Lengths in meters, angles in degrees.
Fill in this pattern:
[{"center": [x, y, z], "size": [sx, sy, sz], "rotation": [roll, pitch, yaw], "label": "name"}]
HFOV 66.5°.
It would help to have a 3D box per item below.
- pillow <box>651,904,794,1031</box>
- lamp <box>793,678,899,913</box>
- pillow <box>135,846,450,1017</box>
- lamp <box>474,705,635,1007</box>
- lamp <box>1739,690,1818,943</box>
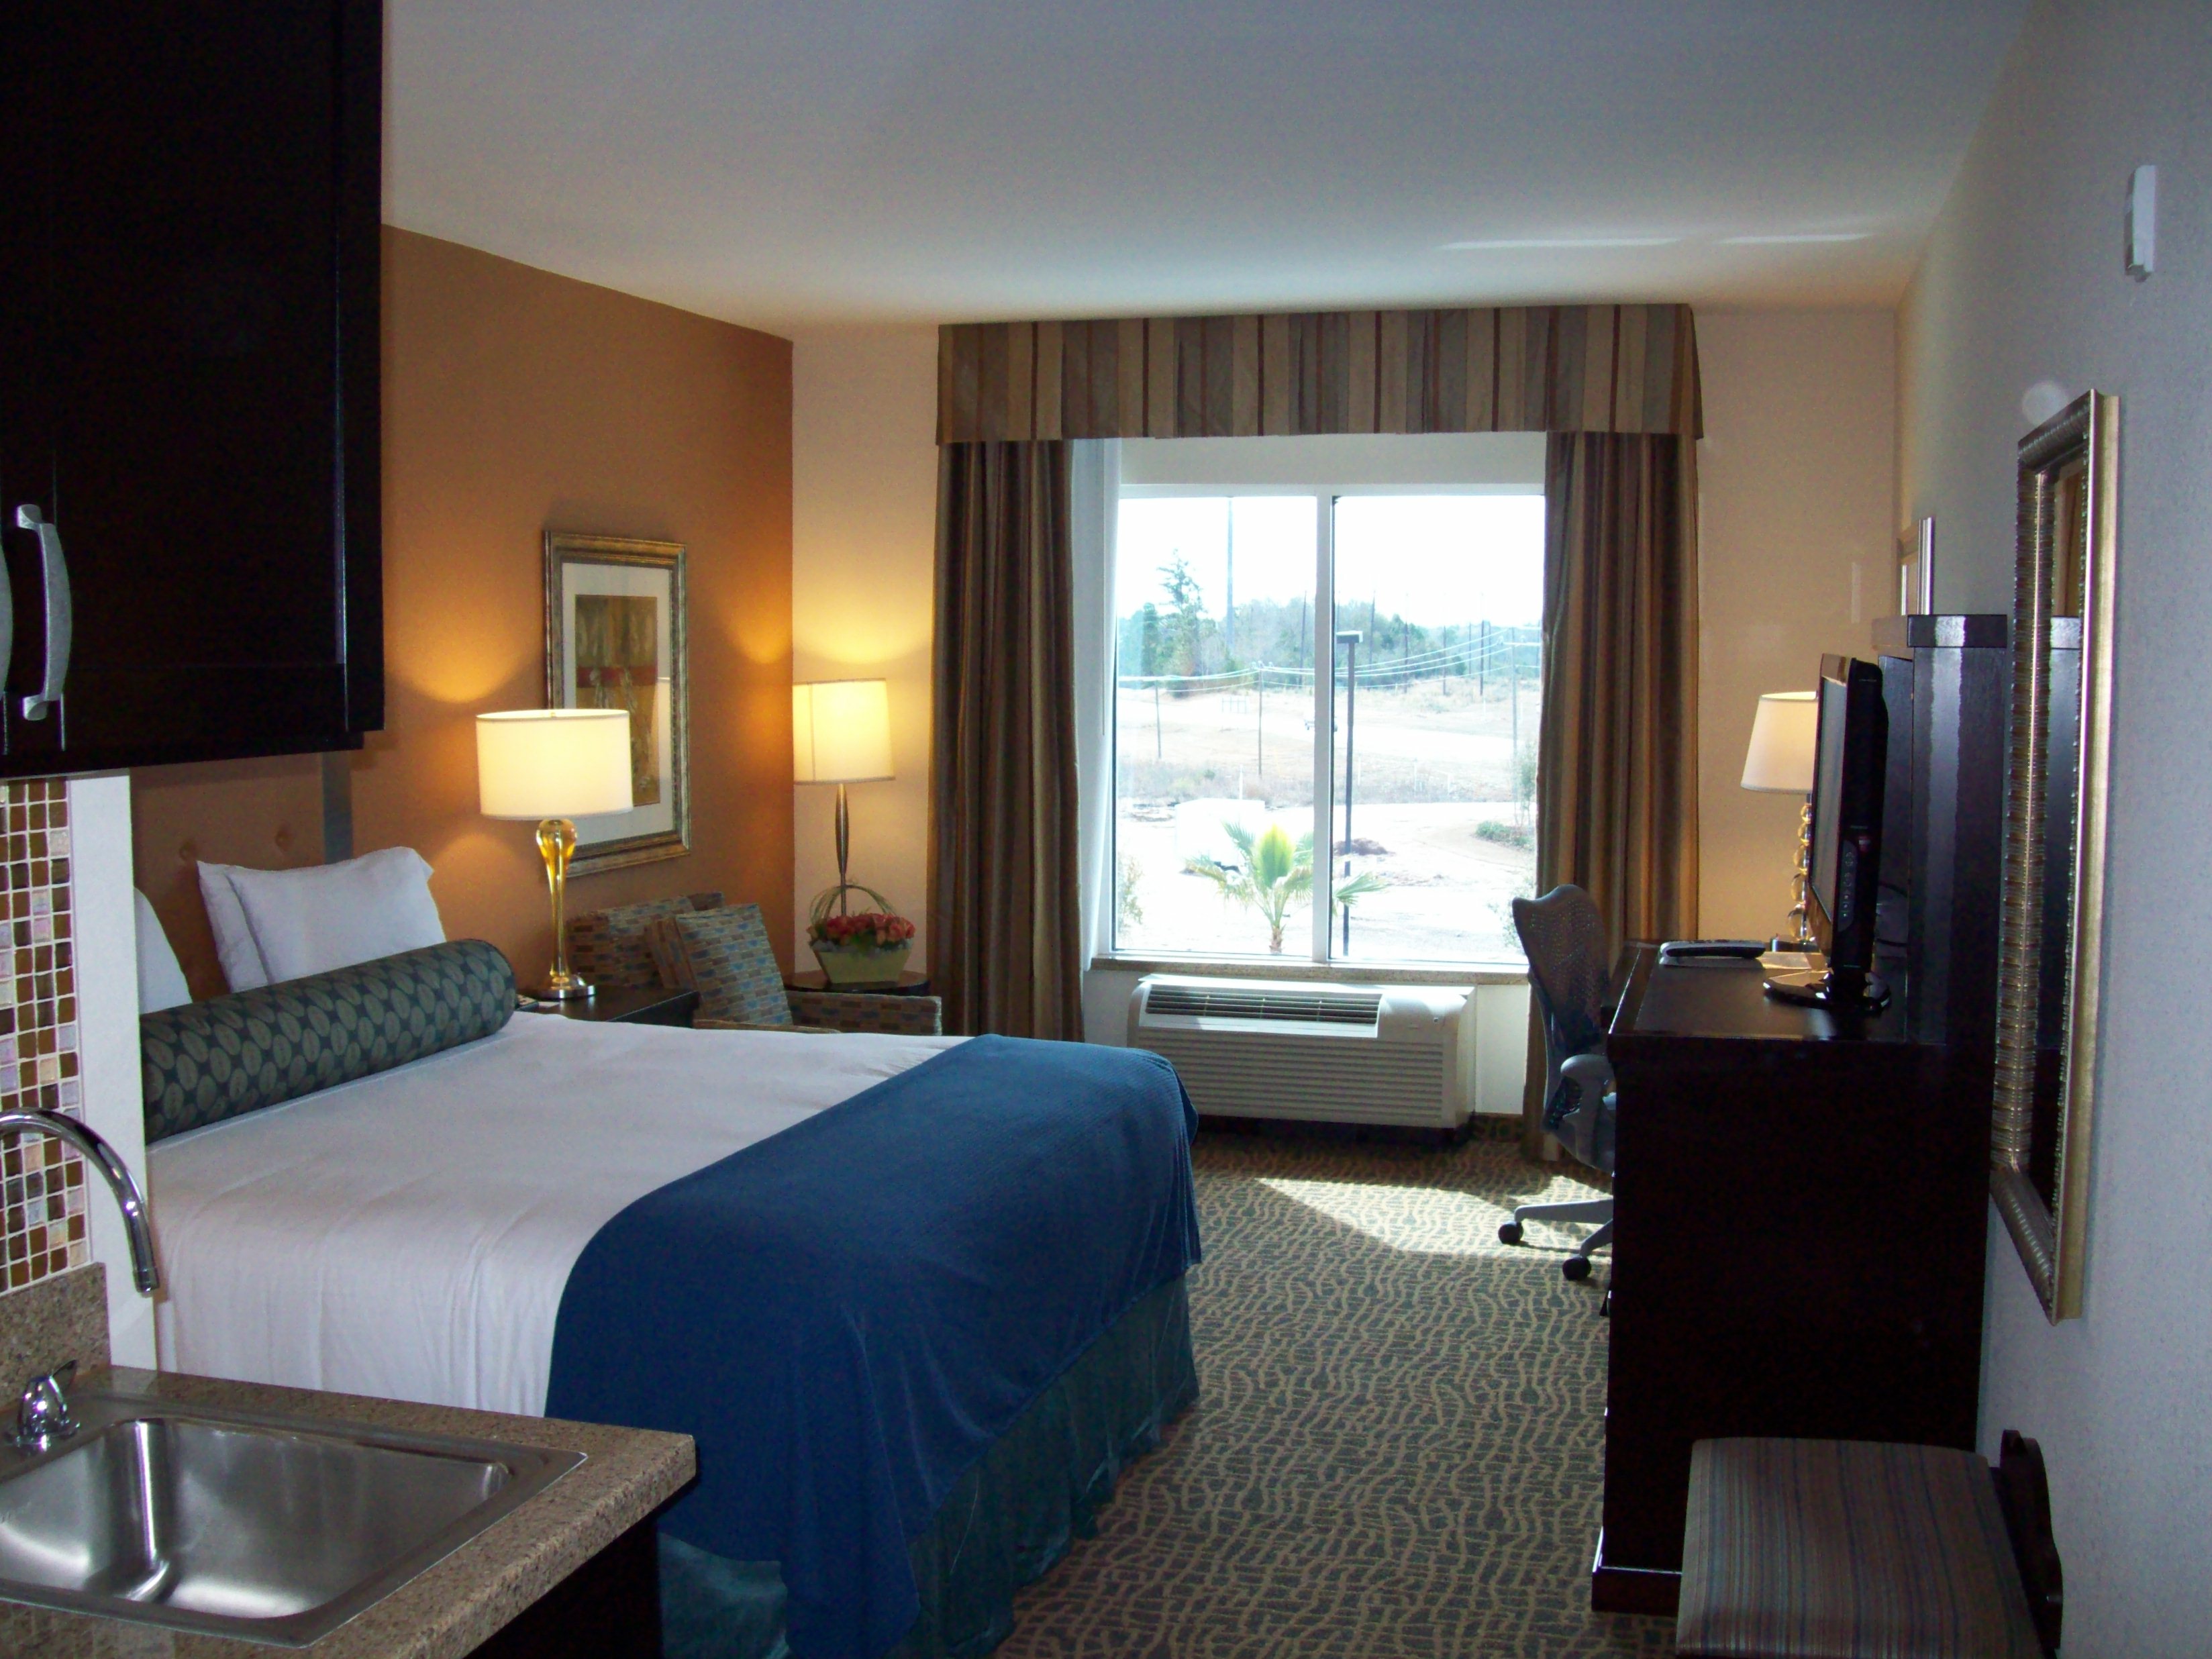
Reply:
[{"center": [-1.352, 0.527, 6.093], "size": [0.113, 0.462, 0.425], "rotation": [-28, -19, 33], "label": "pillow"}, {"center": [-1.102, -0.123, 7.131], "size": [0.412, 1.019, 0.509], "rotation": [-1, 7, -10], "label": "lamp"}, {"center": [-2.093, 0.219, 4.568], "size": [0.460, 0.428, 0.133], "rotation": [-5, -11, -45], "label": "pillow"}, {"center": [-1.843, 0.084, 5.658], "size": [0.500, 0.966, 0.599], "rotation": [-3, 7, -19], "label": "lamp"}, {"center": [2.371, -0.010, 5.756], "size": [0.368, 0.863, 0.363], "rotation": [2, 4, 24], "label": "lamp"}]
